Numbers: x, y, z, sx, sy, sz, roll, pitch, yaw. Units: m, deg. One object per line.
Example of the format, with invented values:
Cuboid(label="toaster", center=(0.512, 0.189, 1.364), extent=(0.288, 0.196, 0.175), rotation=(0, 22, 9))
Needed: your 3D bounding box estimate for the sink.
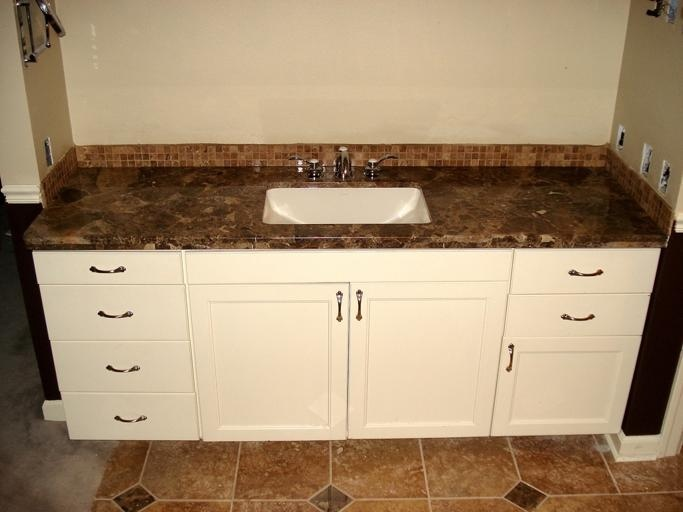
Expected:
Cuboid(label="sink", center=(0.012, -0.231, 2.619), extent=(0.719, 0.170, 0.156), rotation=(-1, 29, -1))

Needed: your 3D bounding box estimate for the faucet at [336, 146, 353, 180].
Cuboid(label="faucet", center=(0.025, -0.468, 2.688), extent=(0.074, 0.101, 0.182), rotation=(2, 53, 0))
